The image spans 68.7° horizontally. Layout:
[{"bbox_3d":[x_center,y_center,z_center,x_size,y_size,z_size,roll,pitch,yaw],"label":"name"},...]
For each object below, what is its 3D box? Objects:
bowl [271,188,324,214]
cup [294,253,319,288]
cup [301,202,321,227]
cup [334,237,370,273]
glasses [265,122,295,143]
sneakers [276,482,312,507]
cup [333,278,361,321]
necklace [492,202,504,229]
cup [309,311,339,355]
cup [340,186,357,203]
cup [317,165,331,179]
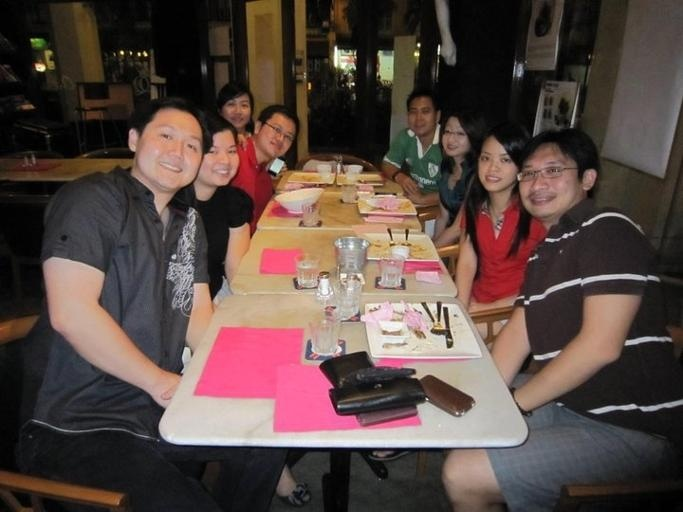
[{"bbox_3d":[-0.268,-0.356,3.129,0.212,0.091,0.224,-3,23,1],"label":"bowl"},{"bbox_3d":[-0.144,0.071,2.286,0.121,0.137,0.126,2,23,-1],"label":"cup"},{"bbox_3d":[-0.177,-0.242,2.926,0.105,0.125,0.134,4,17,8],"label":"cup"},{"bbox_3d":[0.039,-0.013,2.351,0.161,0.114,0.161,1,13,0],"label":"cup"},{"bbox_3d":[-0.415,-0.851,3.469,0.129,0.056,0.166,9,27,-45],"label":"glasses"},{"bbox_3d":[-0.213,1.145,2.375,0.078,0.057,0.140,-29,59,-37],"label":"sneakers"},{"bbox_3d":[0.030,0.166,2.013,0.101,0.143,0.158,6,27,12],"label":"cup"},{"bbox_3d":[0.861,-0.222,2.756,0.110,0.149,0.051,-2,-4,18],"label":"necklace"},{"bbox_3d":[-0.048,0.292,1.871,0.115,0.138,0.124,-1,7,0],"label":"cup"},{"bbox_3d":[0.051,-0.423,3.410,0.089,0.087,0.114,4,21,7],"label":"cup"},{"bbox_3d":[-0.148,-0.687,4.052,0.112,0.094,0.121,0,16,0],"label":"cup"}]
